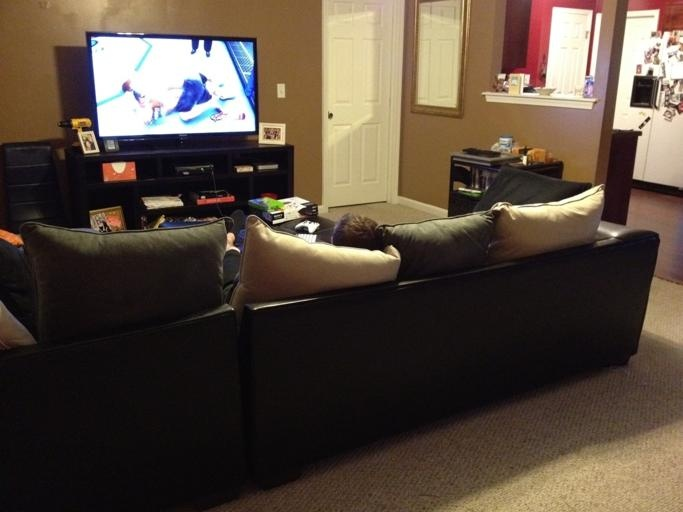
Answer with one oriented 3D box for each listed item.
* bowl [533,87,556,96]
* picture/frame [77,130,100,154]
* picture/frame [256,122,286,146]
[{"bbox_3d":[1.811,-1.488,4.824,0.162,0.059,0.227,6,24,18],"label":"bowl"},{"bbox_3d":[-2.076,-0.940,4.425,0.189,0.254,0.025,-18,12,-41],"label":"picture/frame"},{"bbox_3d":[-0.670,-1.159,5.087,0.277,0.252,0.022,0,1,-7],"label":"picture/frame"}]
